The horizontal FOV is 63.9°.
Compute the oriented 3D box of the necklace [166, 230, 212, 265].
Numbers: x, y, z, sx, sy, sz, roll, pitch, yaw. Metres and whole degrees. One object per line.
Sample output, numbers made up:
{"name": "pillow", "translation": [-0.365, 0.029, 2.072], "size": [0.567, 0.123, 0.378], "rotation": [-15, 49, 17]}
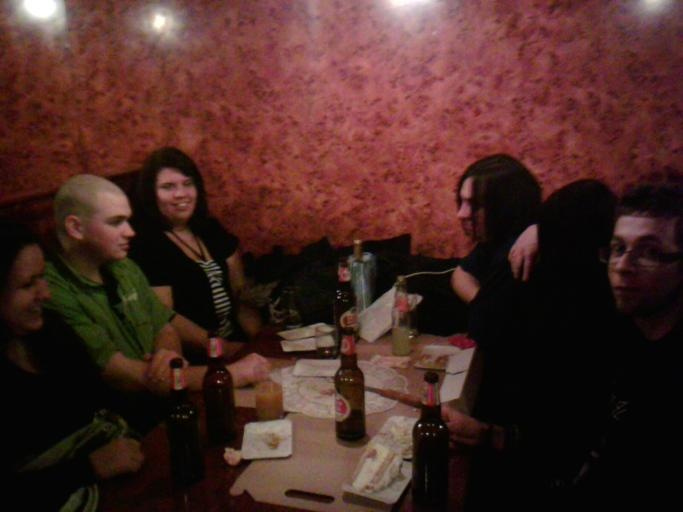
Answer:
{"name": "necklace", "translation": [-0.874, -0.064, 3.150], "size": [0.121, 0.227, 0.043], "rotation": [-39, 16, 10]}

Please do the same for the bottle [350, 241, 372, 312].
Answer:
{"name": "bottle", "translation": [0.102, 0.127, 3.080], "size": [0.145, 0.544, 0.144], "rotation": [-1, 40, 1]}

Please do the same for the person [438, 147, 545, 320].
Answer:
{"name": "person", "translation": [0.736, -0.217, 3.138], "size": [0.592, 1.081, 0.774], "rotation": [2, 12, 10]}

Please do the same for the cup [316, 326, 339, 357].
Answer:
{"name": "cup", "translation": [-0.070, 0.432, 2.799], "size": [0.135, 0.143, 0.127], "rotation": [0, 8, 0]}

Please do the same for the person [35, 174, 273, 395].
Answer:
{"name": "person", "translation": [-0.980, 0.245, 2.922], "size": [1.237, 1.316, 0.886], "rotation": [-7, 10, -12]}

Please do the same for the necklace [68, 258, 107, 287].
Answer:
{"name": "necklace", "translation": [-1.288, 0.079, 2.782], "size": [0.160, 0.122, 0.121], "rotation": [6, 3, -1]}

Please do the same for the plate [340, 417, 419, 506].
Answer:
{"name": "plate", "translation": [0.158, 0.766, 2.003], "size": [0.193, 0.049, 0.420], "rotation": [8, 39, 26]}
